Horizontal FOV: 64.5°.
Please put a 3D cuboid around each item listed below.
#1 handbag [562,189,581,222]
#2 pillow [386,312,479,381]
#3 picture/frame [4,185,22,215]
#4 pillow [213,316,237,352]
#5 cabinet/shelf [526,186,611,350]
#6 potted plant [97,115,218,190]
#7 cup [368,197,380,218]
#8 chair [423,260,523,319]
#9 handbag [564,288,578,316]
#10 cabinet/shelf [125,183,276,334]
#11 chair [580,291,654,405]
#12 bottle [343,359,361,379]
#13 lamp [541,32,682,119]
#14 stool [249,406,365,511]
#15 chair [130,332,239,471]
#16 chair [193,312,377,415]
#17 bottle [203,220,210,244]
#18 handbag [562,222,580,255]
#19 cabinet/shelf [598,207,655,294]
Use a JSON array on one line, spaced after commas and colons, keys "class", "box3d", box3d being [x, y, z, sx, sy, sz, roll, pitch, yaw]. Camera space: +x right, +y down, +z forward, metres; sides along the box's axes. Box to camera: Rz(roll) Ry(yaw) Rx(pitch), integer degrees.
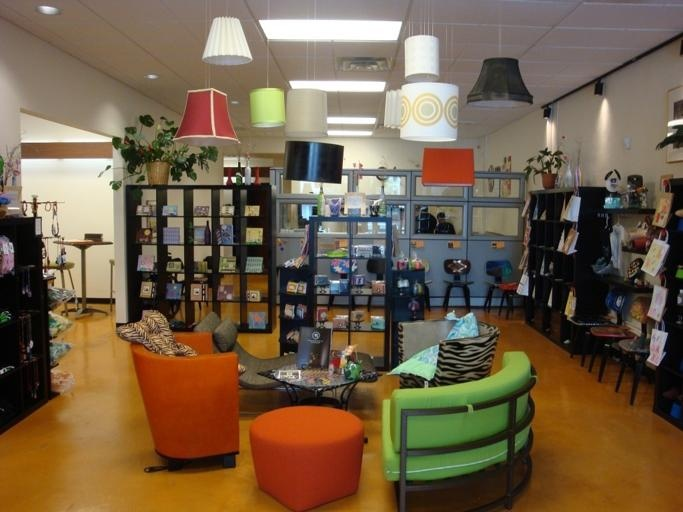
[{"class": "handbag", "box3d": [3.316, -0.691, 7.774, 0.139, 0.441, 0.405, 1, 5, 5]}, {"class": "pillow", "box3d": [0.925, 0.793, 5.401, 0.730, 0.901, 0.697, 1, -3, -25]}, {"class": "picture/frame", "box3d": [-3.849, -0.655, 6.328, 0.181, 0.327, 0.402, -3, 5, -33]}, {"class": "pillow", "box3d": [-1.286, 0.874, 5.933, 0.120, 0.188, 0.388, -13, 5, 4]}, {"class": "cabinet/shelf", "box3d": [3.414, 0.207, 8.038, 0.660, 2.736, 2.432, 1, -1, 0]}, {"class": "potted plant", "box3d": [-2.946, -1.661, 9.507, 1.679, 1.171, 2.287, -1, 0, 5]}, {"class": "cup", "box3d": [0.421, -0.598, 6.793, 0.211, 0.227, 0.200, 2, -3, 0]}, {"class": "chair", "box3d": [2.674, 0.576, 10.516, 1.400, 0.997, 1.072, 2, 5, 16]}, {"class": "handbag", "box3d": [3.280, 0.701, 7.750, 0.151, 0.468, 0.674, 2, 5, 23]}, {"class": "cabinet/shelf", "box3d": [-2.256, 0.065, 8.714, 2.355, 2.390, 0.585, 0, 0, -2]}, {"class": "chair", "box3d": [3.493, 1.186, 6.810, 0.478, 0.962, 1.183, 1, 2, 4]}, {"class": "bottle", "box3d": [0.105, 1.138, 5.349, 0.160, 0.169, 0.122, 9, -8, -44]}, {"class": "lamp", "box3d": [3.649, -2.419, 7.195, 0.129, 0.067, 2.586, -26, 11, -23]}, {"class": "stool", "box3d": [-0.298, 1.626, 4.529, 0.721, 0.515, 0.764, 0, 2, -4]}, {"class": "chair", "box3d": [-1.461, 1.419, 5.323, 0.967, 1.141, 1.078, -1, 6, -13]}, {"class": "chair", "box3d": [-0.554, 1.253, 6.018, 1.671, 0.887, 1.104, 1, 8, -3]}, {"class": "bottle", "box3d": [-2.238, -0.381, 9.022, 0.111, 0.365, 0.557, -1, 5, -14]}, {"class": "handbag", "box3d": [3.321, -0.235, 7.806, 0.155, 0.480, 0.445, 8, -1, 2]}, {"class": "cabinet/shelf", "box3d": [3.725, -0.066, 7.021, 0.342, 1.087, 1.117, 1, 2, 0]}]
